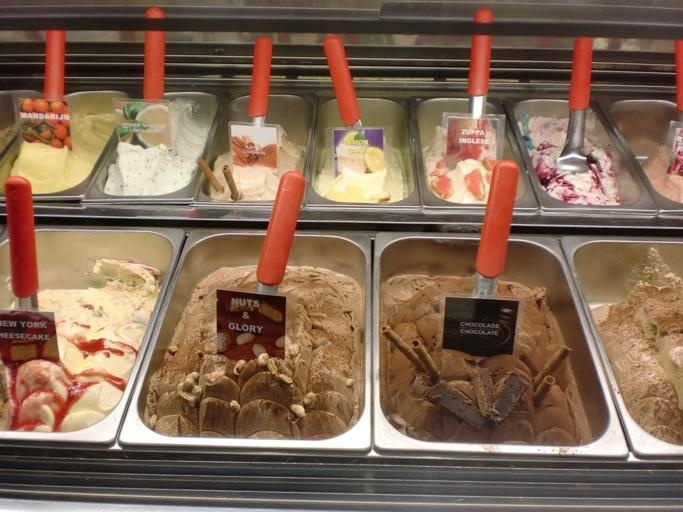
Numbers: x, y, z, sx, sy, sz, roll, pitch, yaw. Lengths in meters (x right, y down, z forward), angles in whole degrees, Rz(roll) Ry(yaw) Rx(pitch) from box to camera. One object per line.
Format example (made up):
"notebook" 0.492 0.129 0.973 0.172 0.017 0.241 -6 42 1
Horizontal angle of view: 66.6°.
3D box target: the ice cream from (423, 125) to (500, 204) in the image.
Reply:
"ice cream" 0.457 -0.316 2.008 0.244 0.115 0.345 3 54 11

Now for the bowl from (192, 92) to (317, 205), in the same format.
"bowl" -0.329 -0.456 2.008 0.324 0.193 0.559 5 48 2
